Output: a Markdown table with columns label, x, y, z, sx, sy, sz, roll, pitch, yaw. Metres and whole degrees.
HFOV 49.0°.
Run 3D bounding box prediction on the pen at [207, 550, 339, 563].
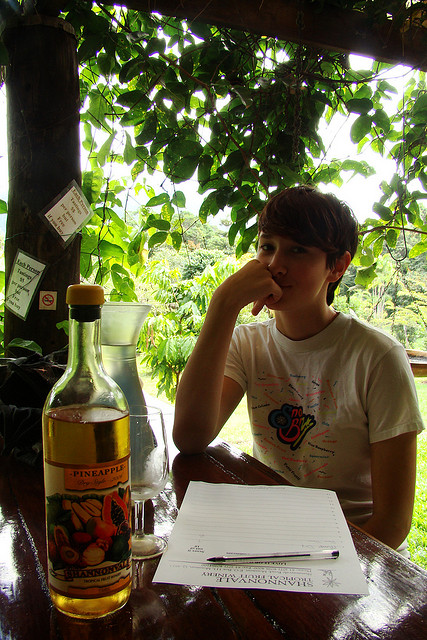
| label | x | y | z | sx | sy | sz | roll | pitch | yaw |
| --- | --- | --- | --- | --- | --- | --- | --- | --- | --- |
| pen | 0.068 | 0.266 | 0.529 | 0.149 | 0.006 | 0.015 | 1 | 3 | -5 |

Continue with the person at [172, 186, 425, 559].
| label | x | y | z | sx | sy | sz | roll | pitch | yaw |
| --- | --- | --- | --- | --- | --- | --- | --- | --- | --- |
| person | 0.200 | 0.085 | 1.169 | 0.533 | 0.825 | 0.535 | 1 | 3 | 8 |

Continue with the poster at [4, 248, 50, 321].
| label | x | y | z | sx | sy | sz | roll | pitch | yaw |
| --- | --- | --- | --- | --- | --- | --- | --- | --- | --- |
| poster | -0.535 | -0.104 | 1.359 | 0.141 | 0.193 | 0.009 | 26 | 13 | 9 |

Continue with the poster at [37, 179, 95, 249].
| label | x | y | z | sx | sy | sz | roll | pitch | yaw |
| --- | --- | --- | --- | --- | --- | --- | --- | --- | --- |
| poster | -0.444 | -0.307 | 1.389 | 0.015 | 0.202 | 0.210 | 12 | 40 | 28 |

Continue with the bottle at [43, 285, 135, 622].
| label | x | y | z | sx | sy | sz | roll | pitch | yaw |
| --- | --- | --- | --- | --- | --- | --- | --- | --- | --- |
| bottle | -0.123 | 0.123 | 0.464 | 0.089 | 0.310 | 0.161 | 0 | 3 | -11 |
